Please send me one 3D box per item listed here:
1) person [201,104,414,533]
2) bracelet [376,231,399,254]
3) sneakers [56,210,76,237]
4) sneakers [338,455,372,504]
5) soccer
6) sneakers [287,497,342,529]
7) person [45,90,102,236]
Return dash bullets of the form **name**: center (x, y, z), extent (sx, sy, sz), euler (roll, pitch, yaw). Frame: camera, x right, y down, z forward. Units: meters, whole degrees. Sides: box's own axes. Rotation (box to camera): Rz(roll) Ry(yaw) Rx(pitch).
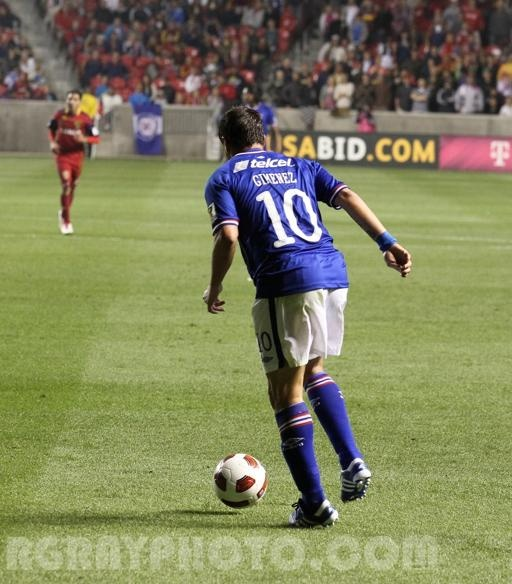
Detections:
- **person**: center (0.223, 0.134, 7.879), extent (1.108, 2.224, 0.735), euler (5, 9, 6)
- **bracelet**: center (0.741, -0.280, 8.023), extent (0.092, 0.100, 0.124), euler (41, -2, 1)
- **sneakers**: center (-1.499, -0.514, 11.138), extent (0.081, 0.102, 0.218), euler (-9, 24, -20)
- **sneakers**: center (0.527, 1.041, 7.761), extent (0.097, 0.299, 0.158), euler (0, 42, -15)
- **soccer**: center (-0.094, 1.080, 7.811), extent (0.248, 0.297, 0.282), euler (-6, -11, -1)
- **sneakers**: center (0.315, 1.222, 7.753), extent (0.276, 0.154, 0.119), euler (0, 3, 20)
- **person**: center (-1.508, -1.047, 11.369), extent (0.367, 1.091, 0.657), euler (4, 10, 3)
